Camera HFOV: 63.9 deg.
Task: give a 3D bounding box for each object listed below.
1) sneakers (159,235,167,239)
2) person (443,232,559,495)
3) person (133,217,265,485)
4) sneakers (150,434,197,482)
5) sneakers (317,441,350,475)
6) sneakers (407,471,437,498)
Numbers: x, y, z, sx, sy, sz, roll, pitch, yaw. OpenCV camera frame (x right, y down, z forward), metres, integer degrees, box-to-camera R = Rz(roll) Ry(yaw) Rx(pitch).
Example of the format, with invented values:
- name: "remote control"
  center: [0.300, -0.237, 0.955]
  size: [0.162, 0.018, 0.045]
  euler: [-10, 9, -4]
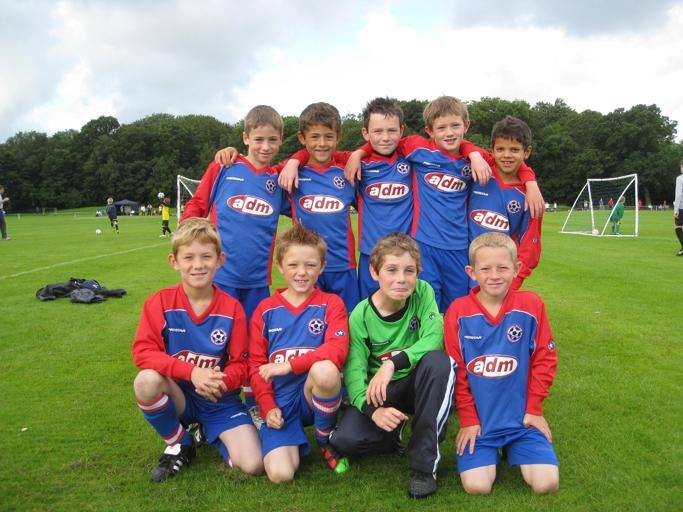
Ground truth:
- name: "sneakers"
  center: [-6.596, -0.746, 20.296]
  size: [0.158, 0.166, 0.368]
  euler: [-1, -2, -4]
- name: "person"
  center: [1.274, 0.843, 4.500]
  size: [0.958, 1.995, 0.986]
  euler: [7, 20, 40]
- name: "person"
  center: [-1.207, 0.992, 4.557]
  size: [1.007, 1.523, 0.741]
  euler: [-1, 5, -16]
- name: "sneakers"
  center: [-1.363, 1.658, 4.503]
  size: [0.158, 0.215, 0.470]
  euler: [5, 18, 32]
- name: "sneakers"
  center: [-0.074, 1.675, 4.512]
  size: [0.137, 0.274, 0.110]
  euler: [-40, 7, -30]
- name: "sneakers"
  center: [0.616, 1.759, 4.203]
  size: [0.216, 0.144, 0.153]
  euler: [1, 5, 10]
